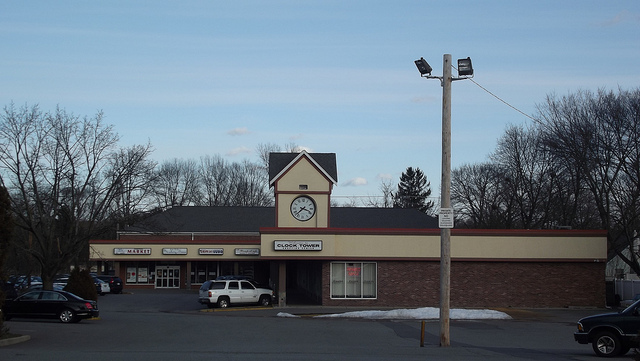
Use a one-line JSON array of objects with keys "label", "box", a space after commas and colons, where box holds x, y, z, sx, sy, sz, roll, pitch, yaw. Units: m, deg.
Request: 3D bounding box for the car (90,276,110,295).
[{"label": "car", "box": [-24.886, 12.002, 112.067, 1.779, 2.003, 2.478, 1, -11, -9]}]

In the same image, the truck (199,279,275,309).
[{"label": "truck", "box": [-8.730, 11.615, 97.609, 10.393, 3.346, 4.619, -1, -5, 18]}]
